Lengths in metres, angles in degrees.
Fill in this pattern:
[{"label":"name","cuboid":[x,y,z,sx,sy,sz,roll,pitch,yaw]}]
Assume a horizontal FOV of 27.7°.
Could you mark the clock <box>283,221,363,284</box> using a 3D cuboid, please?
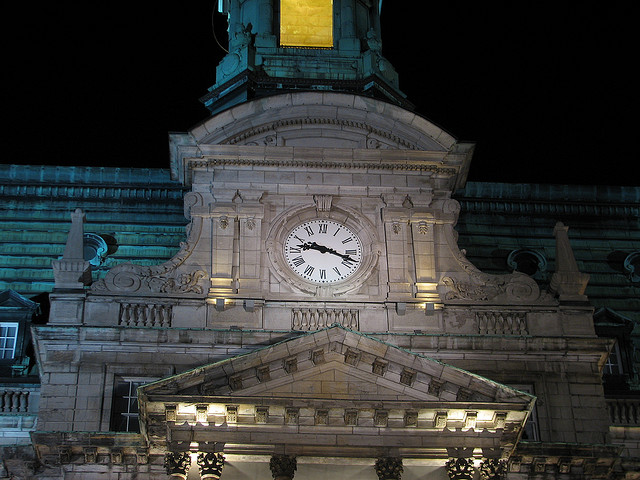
[{"label":"clock","cuboid":[-0.222,0.515,46.672,2.444,2.072,1.718,-1,-12,-23]}]
